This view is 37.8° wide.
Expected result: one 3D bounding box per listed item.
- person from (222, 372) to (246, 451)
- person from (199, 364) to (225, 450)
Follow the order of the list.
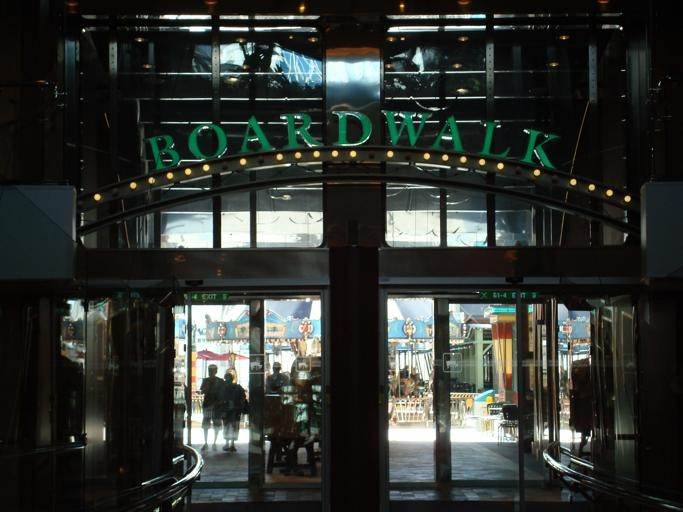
[{"bbox_3d":[-1.436,2.132,13.568,0.308,1.051,0.140,1,-14,-7],"label":"person"},{"bbox_3d":[-1.756,2.060,13.553,0.315,1.110,0.150,1,-14,-8],"label":"person"}]
